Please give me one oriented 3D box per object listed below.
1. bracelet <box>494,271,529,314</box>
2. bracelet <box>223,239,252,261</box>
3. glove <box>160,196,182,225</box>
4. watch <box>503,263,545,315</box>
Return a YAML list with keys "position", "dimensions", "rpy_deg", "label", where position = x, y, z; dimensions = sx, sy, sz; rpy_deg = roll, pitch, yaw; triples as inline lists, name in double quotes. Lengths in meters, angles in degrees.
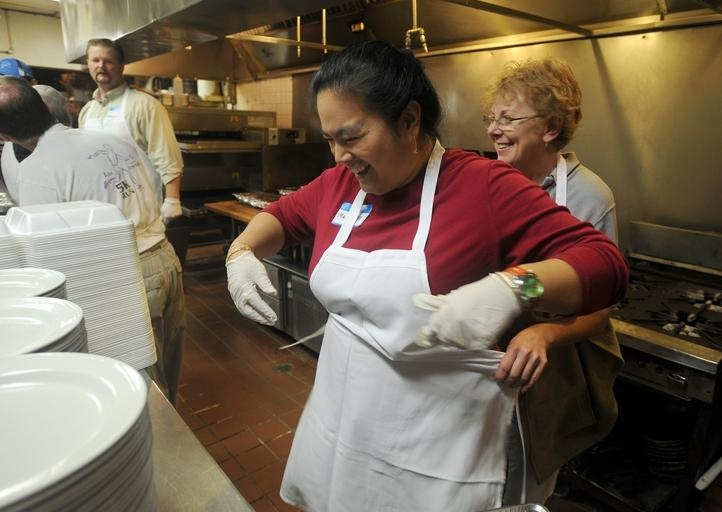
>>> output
- position: [0.386, 0.082, 1.201]
  dimensions: [0.096, 0.088, 0.072]
  rpy_deg: [0, 6, -8]
  label: "bracelet"
- position: [-0.441, -0.033, 1.693]
  dimensions: [0.106, 0.051, 0.082]
  rpy_deg: [-45, 12, -22]
  label: "bracelet"
- position: [-1.397, -0.319, 3.272]
  dimensions: [0.128, 0.181, 0.181]
  rpy_deg: [2, -2, 5]
  label: "glove"
- position: [0.400, 0.082, 1.188]
  dimensions: [0.093, 0.102, 0.101]
  rpy_deg: [-2, 16, -13]
  label: "watch"
